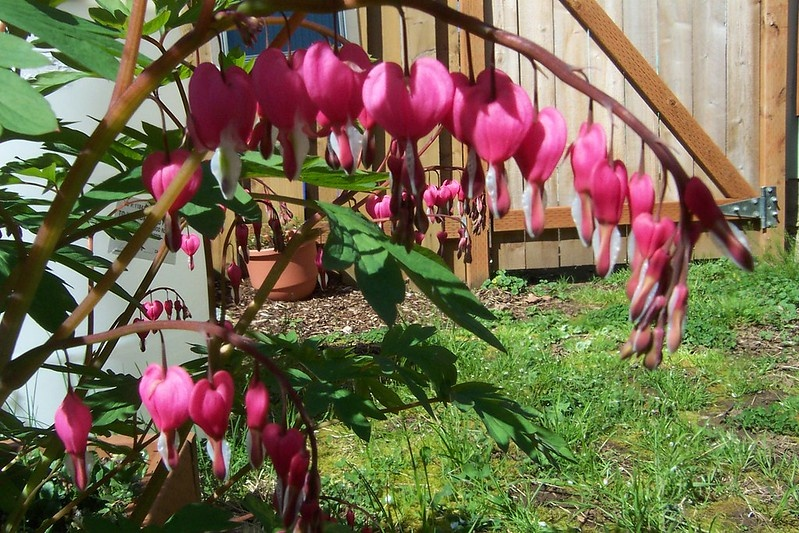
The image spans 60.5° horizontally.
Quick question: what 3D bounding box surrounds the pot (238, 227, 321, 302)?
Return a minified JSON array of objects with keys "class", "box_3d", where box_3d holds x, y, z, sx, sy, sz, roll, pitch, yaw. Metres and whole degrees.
[{"class":"pot","box_3d":[-1.123,0.104,7.066,0.879,0.665,0.871,-3,12,1]}]
